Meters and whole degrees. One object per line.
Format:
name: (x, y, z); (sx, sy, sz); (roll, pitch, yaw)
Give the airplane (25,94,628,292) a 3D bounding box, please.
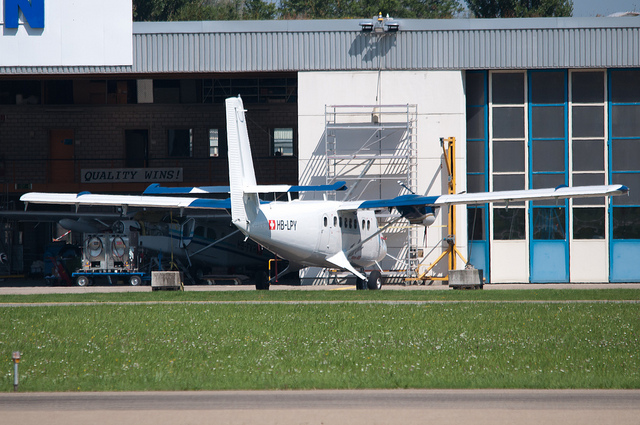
airplane: (1.043, -1.031, 96.113); (36.896, 11.483, 20.630); (-1, 2, -3)
